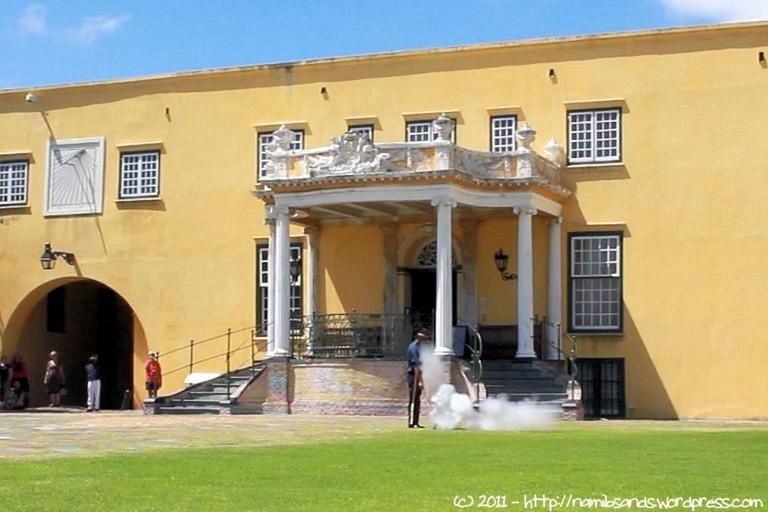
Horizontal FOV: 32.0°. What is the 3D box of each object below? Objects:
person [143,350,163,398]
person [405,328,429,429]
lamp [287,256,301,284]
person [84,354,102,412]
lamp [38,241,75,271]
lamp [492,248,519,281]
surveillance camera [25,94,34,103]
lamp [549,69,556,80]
[{"bbox_3d":[-6.693,3.415,38.800,0.469,1.293,2.414,-1,-4,-10],"label":"person"},{"bbox_3d":[0.719,2.896,31.065,0.428,2.163,0.961,-2,-4,1],"label":"person"},{"bbox_3d":[-2.556,0.390,38.674,0.320,0.859,0.676,-1,-4,-4],"label":"lamp"},{"bbox_3d":[-8.364,3.668,38.467,0.349,1.545,0.975,-1,-4,-10],"label":"person"},{"bbox_3d":[-10.074,-0.020,40.645,0.812,0.783,1.106,-4,-5,36],"label":"lamp"},{"bbox_3d":[3.321,0.230,37.057,0.580,0.887,0.336,-2,-4,10],"label":"lamp"},{"bbox_3d":[-10.961,-4.936,41.404,0.288,0.246,0.216,-7,-3,20],"label":"surveillance camera"},{"bbox_3d":[4.662,-5.121,37.301,0.225,0.306,0.062,-2,-4,1],"label":"lamp"}]
